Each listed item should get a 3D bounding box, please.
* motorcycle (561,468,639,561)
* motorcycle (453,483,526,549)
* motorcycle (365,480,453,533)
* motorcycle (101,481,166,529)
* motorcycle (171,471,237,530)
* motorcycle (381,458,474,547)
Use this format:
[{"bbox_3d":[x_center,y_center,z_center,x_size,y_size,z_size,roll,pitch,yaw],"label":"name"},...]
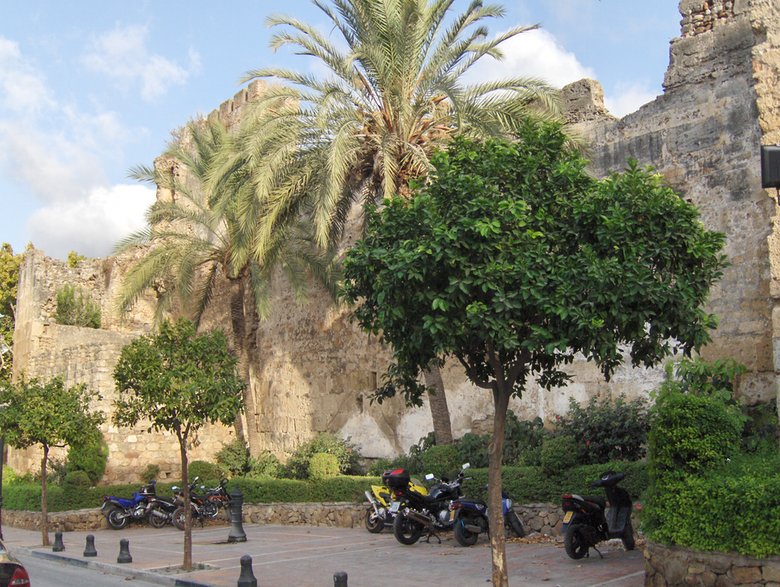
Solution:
[{"bbox_3d":[3.972,4.102,21.082,2.129,1.555,0.786,4,-7,-43],"label":"motorcycle"},{"bbox_3d":[1.963,4.460,22.939,1.861,1.242,0.780,-1,-14,-39],"label":"motorcycle"},{"bbox_3d":[0.322,4.679,25.008,2.069,1.353,1.082,-4,-13,24],"label":"motorcycle"},{"bbox_3d":[-6.718,5.474,29.260,1.796,1.219,0.891,-6,-4,-14],"label":"motorcycle"},{"bbox_3d":[-4.808,5.365,28.689,1.467,1.264,2.815,-1,-15,-11],"label":"motorcycle"},{"bbox_3d":[0.937,4.438,23.441,2.546,1.649,1.093,9,-17,-42],"label":"motorcycle"}]
